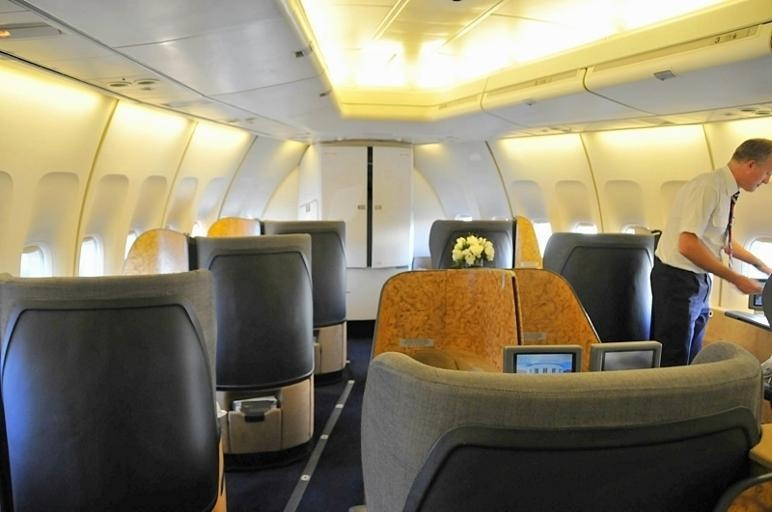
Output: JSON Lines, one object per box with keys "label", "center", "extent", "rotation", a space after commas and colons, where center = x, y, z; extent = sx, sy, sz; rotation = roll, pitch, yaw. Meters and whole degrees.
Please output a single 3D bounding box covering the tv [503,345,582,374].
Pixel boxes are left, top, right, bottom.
{"label": "tv", "center": [0.848, 0.554, 3.129], "extent": [0.336, 0.167, 0.215], "rotation": [1, -3, 2]}
